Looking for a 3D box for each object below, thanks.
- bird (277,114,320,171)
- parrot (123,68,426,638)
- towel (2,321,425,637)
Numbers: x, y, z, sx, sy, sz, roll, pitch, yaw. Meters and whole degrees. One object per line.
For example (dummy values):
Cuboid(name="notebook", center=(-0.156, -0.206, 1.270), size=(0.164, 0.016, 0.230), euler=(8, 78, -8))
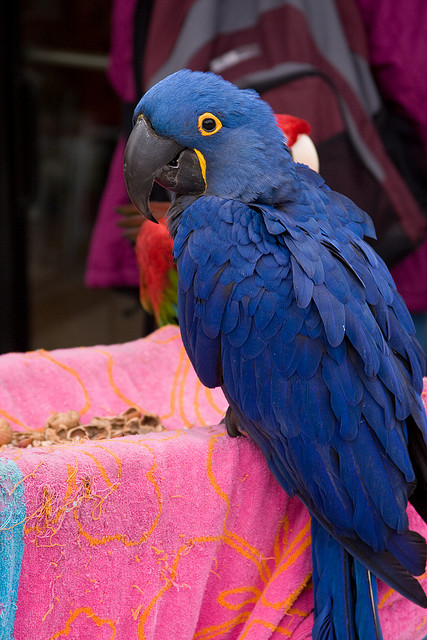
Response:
Cuboid(name="bird", center=(0.106, -0.248, 1.268), size=(0.068, 0.074, 0.056), euler=(-1, 11, -5))
Cuboid(name="parrot", center=(0.119, 0.012, 1.027), size=(0.261, 0.443, 0.484), euler=(-16, 37, -36))
Cuboid(name="towel", center=(-0.068, 0.139, 1.031), size=(0.310, 0.137, 0.458), euler=(12, 47, -26))
